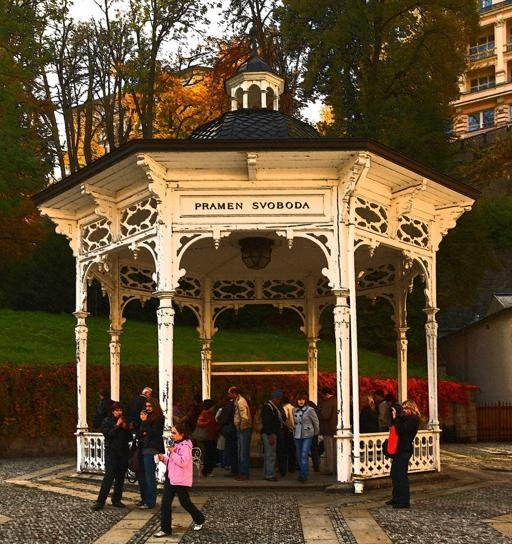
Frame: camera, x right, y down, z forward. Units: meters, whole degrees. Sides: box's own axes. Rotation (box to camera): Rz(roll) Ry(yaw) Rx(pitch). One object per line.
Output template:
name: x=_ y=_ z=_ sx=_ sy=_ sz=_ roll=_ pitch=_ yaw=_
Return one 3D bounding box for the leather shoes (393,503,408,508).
leather shoes: x=2.379 y=3.844 z=16.383 sx=0.259 sy=0.072 sz=0.182 roll=-2 pitch=-7 yaw=14

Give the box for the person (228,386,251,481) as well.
person: x=-0.270 y=2.984 z=18.499 sx=0.294 sy=1.662 sz=0.612 roll=3 pitch=-8 yaw=-20

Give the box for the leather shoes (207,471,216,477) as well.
leather shoes: x=-0.882 y=3.858 z=19.044 sx=0.076 sy=0.069 sz=0.177 roll=-10 pitch=-16 yaw=42

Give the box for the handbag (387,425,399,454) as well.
handbag: x=2.304 y=2.827 z=16.750 sx=0.177 sy=0.514 sz=0.432 roll=7 pitch=-17 yaw=4

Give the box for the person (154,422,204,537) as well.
person: x=-1.179 y=3.157 z=15.146 sx=0.730 sy=1.672 sz=0.407 roll=1 pitch=-8 yaw=-5

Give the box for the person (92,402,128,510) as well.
person: x=-2.398 y=3.062 z=16.629 sx=0.534 sy=1.730 sz=0.638 roll=-1 pitch=-8 yaw=10

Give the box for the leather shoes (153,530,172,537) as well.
leather shoes: x=-1.434 y=3.933 z=15.012 sx=0.244 sy=0.095 sz=0.099 roll=5 pitch=-4 yaw=-1

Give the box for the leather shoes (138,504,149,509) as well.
leather shoes: x=-1.878 y=3.872 z=16.488 sx=0.184 sy=0.068 sz=0.063 roll=-3 pitch=-32 yaw=28

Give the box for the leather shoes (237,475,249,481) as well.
leather shoes: x=-0.250 y=3.751 z=18.209 sx=0.218 sy=0.090 sz=0.313 roll=1 pitch=-7 yaw=-3

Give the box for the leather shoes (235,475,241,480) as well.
leather shoes: x=-0.352 y=3.786 z=18.404 sx=0.123 sy=0.050 sz=0.179 roll=-4 pitch=3 yaw=1

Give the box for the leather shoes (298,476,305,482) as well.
leather shoes: x=0.822 y=3.714 z=17.944 sx=0.124 sy=0.100 sz=0.197 roll=1 pitch=-7 yaw=-4

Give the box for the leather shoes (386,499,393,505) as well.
leather shoes: x=2.215 y=3.832 z=16.614 sx=0.122 sy=0.091 sz=0.231 roll=0 pitch=-7 yaw=5

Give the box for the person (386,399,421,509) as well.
person: x=2.462 y=3.031 z=16.691 sx=0.557 sy=1.762 sz=0.574 roll=-1 pitch=-8 yaw=7
